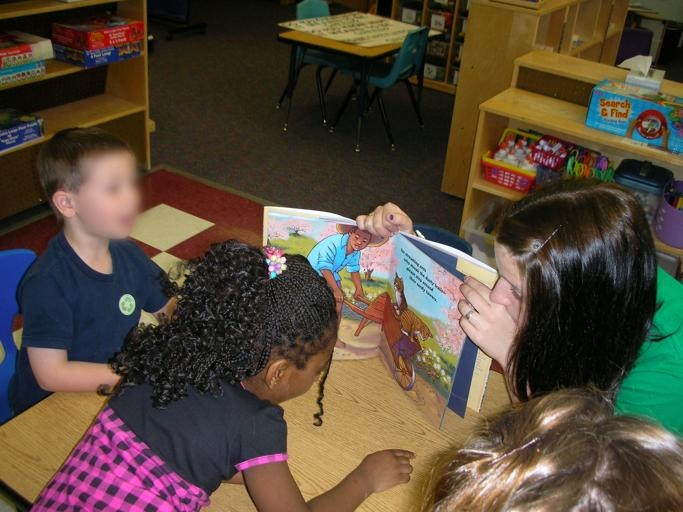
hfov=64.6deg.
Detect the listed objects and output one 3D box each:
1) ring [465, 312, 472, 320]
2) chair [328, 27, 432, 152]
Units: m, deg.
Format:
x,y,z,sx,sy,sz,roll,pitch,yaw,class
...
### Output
x,y,z,sx,sy,sz,roll,pitch,yaw,class
0.304,0.140,1.280,0.004,0.017,0.018,28,42,-24,ring
0.365,-1.583,4.831,0.762,0.909,0.808,-14,36,-24,chair
